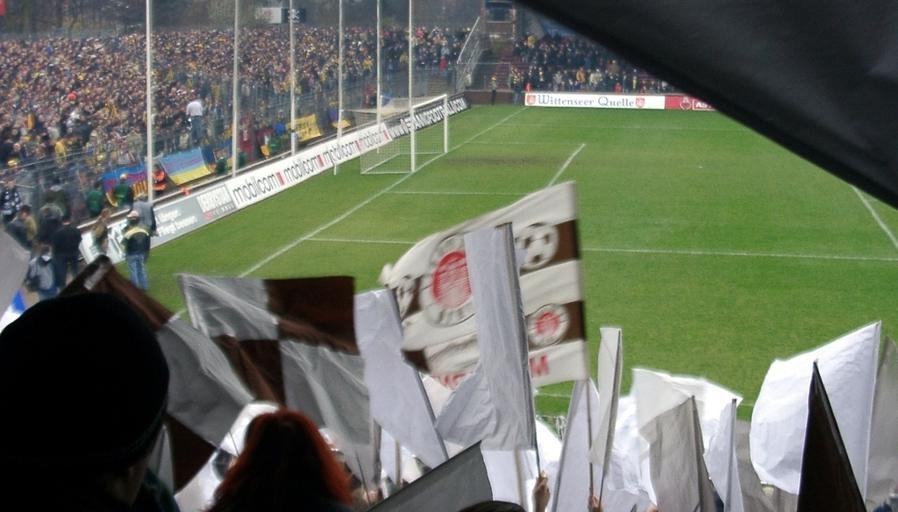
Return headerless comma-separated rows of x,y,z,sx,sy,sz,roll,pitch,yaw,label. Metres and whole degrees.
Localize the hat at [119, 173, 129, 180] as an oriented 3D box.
-5.297,-1.319,15.689,0.143,0.039,0.156,7,19,8,hat
